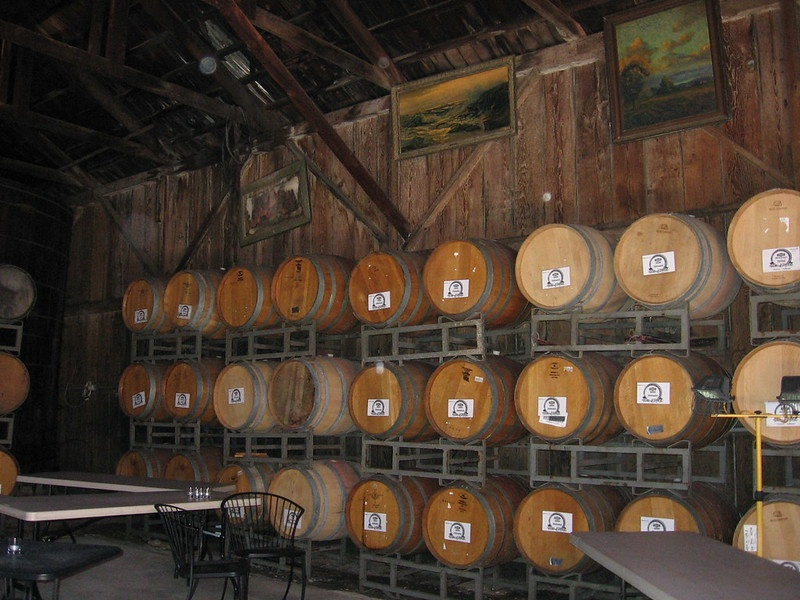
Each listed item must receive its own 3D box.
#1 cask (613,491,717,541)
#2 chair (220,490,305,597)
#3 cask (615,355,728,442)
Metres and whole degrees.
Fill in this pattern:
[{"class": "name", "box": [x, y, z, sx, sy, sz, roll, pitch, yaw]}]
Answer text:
[{"class": "cask", "box": [2.310, 1.872, 7.979, 0.494, 0.545, 0.491, -5, -10, 34]}, {"class": "chair", "box": [-1.339, 2.375, 8.870, 0.777, 1.128, 0.712, 10, -32, -20]}, {"class": "cask", "box": [2.381, 0.903, 8.324, 0.708, 0.771, 0.737, 1, 0, -3]}]
